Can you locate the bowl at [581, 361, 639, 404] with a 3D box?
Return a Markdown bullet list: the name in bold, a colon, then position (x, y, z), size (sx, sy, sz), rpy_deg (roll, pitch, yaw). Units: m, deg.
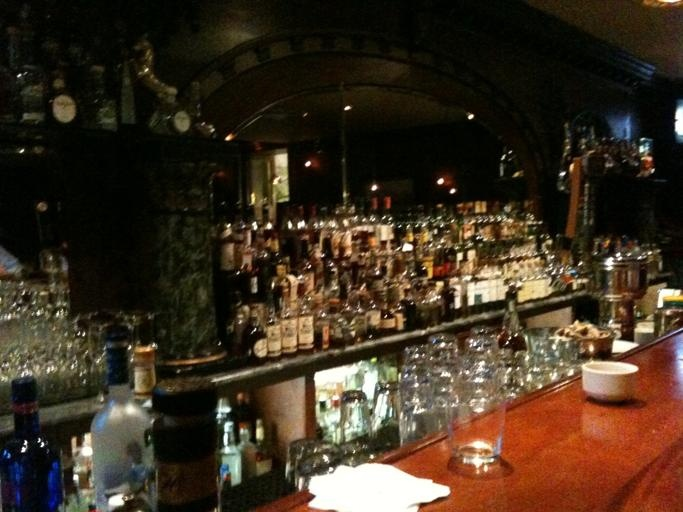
- **bowl**: position (0.838, 0.388, 2.020), size (0.137, 0.085, 0.135), rpy_deg (1, -3, 0)
